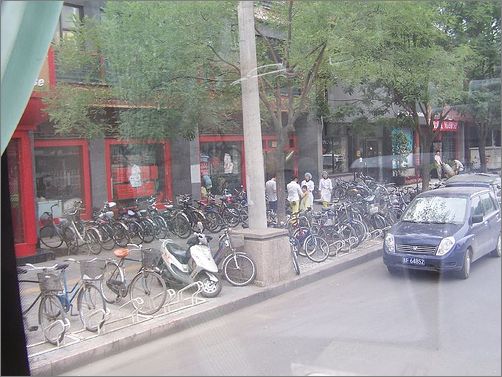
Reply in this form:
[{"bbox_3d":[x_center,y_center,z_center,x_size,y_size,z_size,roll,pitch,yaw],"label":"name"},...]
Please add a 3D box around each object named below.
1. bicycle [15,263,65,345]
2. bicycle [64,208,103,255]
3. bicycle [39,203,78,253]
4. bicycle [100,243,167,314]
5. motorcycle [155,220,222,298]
[{"bbox_3d":[-3.137,1.695,6.538,0.633,1.230,1.078,-3,3,-25],"label":"bicycle"},{"bbox_3d":[-5.111,1.315,12.947,1.521,1.009,0.711,18,19,36],"label":"bicycle"},{"bbox_3d":[-6.031,1.246,13.101,1.764,1.172,0.867,8,9,40],"label":"bicycle"},{"bbox_3d":[-2.221,1.699,7.911,1.648,1.209,0.778,6,-1,33],"label":"bicycle"},{"bbox_3d":[-1.228,1.538,8.566,1.289,1.202,0.474,-1,3,26],"label":"motorcycle"}]
